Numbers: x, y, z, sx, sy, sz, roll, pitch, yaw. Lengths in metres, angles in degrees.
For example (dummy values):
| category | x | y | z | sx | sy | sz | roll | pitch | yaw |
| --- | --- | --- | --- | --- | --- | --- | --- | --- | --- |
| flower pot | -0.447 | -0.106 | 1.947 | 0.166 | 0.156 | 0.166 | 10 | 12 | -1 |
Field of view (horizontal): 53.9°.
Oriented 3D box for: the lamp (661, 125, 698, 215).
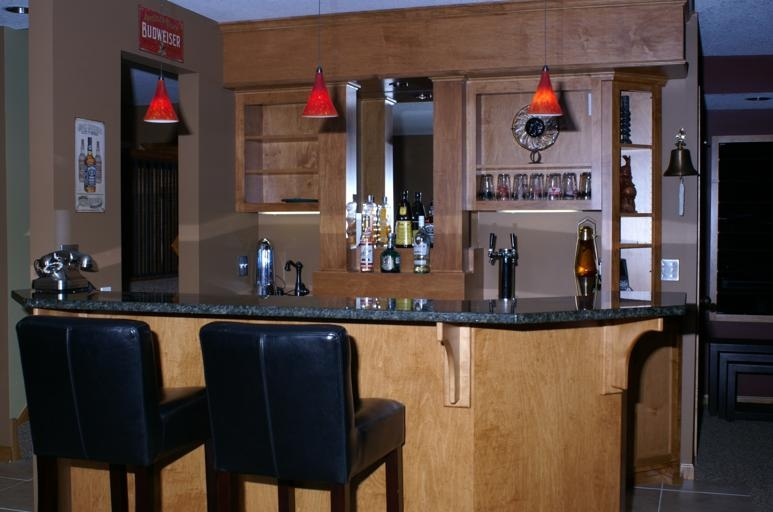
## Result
| category | x | y | z | sx | sy | sz | roll | pitch | yaw |
| --- | --- | --- | --- | --- | --- | --- | --- | --- | --- |
| lamp | 2.220 | -0.644 | 5.713 | 0.238 | 0.681 | 0.222 | 1 | 0 | 21 |

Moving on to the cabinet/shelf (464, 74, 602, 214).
| category | x | y | z | sx | sy | sz | roll | pitch | yaw |
| --- | --- | --- | --- | --- | --- | --- | --- | --- | --- |
| cabinet/shelf | 1.190 | -0.895 | 6.026 | 1.024 | 1.059 | 0.354 | 0 | 1 | 7 |

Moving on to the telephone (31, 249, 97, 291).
| category | x | y | z | sx | sy | sz | roll | pitch | yaw |
| --- | --- | --- | --- | --- | --- | --- | --- | --- | --- |
| telephone | -2.038 | 0.084 | 4.785 | 0.398 | 0.308 | 0.231 | 0 | -3 | 6 |

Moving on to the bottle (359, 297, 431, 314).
| category | x | y | z | sx | sy | sz | roll | pitch | yaw |
| --- | --- | --- | --- | --- | --- | --- | --- | --- | --- |
| bottle | 0.042 | 0.273 | 4.290 | 0.416 | 0.070 | 0.516 | 1 | 0 | -2 |

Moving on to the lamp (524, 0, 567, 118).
| category | x | y | z | sx | sy | sz | roll | pitch | yaw |
| --- | --- | --- | --- | --- | --- | --- | --- | --- | --- |
| lamp | 1.134 | -1.429 | 5.349 | 0.194 | 0.855 | 1.064 | 1 | 0 | 13 |

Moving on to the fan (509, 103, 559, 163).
| category | x | y | z | sx | sy | sz | roll | pitch | yaw |
| --- | --- | --- | --- | --- | --- | --- | --- | --- | --- |
| fan | 1.177 | -0.979 | 5.969 | 0.443 | 0.569 | 0.106 | 1 | 4 | 12 |

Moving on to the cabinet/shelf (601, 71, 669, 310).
| category | x | y | z | sx | sy | sz | roll | pitch | yaw |
| --- | --- | --- | --- | --- | --- | --- | --- | --- | --- |
| cabinet/shelf | 1.900 | -0.570 | 5.883 | 0.462 | 1.768 | 0.202 | 1 | 0 | 18 |

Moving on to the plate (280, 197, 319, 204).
| category | x | y | z | sx | sy | sz | roll | pitch | yaw |
| --- | --- | --- | --- | --- | --- | --- | --- | --- | --- |
| plate | -0.719 | -0.479 | 6.531 | 0.373 | 0.062 | 0.220 | 1 | 0 | 12 |
